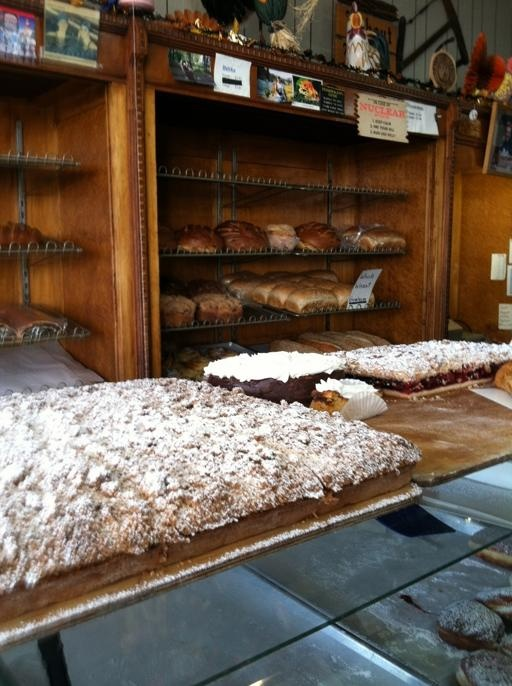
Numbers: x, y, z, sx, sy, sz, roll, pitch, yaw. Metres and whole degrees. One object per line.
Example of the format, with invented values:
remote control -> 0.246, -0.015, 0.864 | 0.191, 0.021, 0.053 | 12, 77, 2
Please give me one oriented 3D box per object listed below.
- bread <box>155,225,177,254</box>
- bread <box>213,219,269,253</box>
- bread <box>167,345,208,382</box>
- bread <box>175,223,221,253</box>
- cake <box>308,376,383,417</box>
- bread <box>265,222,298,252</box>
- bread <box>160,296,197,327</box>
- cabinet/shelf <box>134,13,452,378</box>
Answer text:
bread -> -0.418, -0.485, 2.402 | 0.069, 0.112, 0.261 | -6, 22, -5
bread -> -0.058, -0.537, 2.624 | 0.287, 0.165, 0.225 | 7, 10, -20
bread -> -0.344, 0.099, 2.534 | 0.160, 0.061, 0.201 | 1, 16, 2
bread -> -0.281, -0.501, 2.462 | 0.197, 0.093, 0.276 | -2, 8, -5
cake -> 0.181, 0.098, 0.996 | 0.097, 0.048, 0.104 | 5, 8, -40
bread -> 0.135, -0.571, 2.884 | 0.184, 0.133, 0.187 | 3, 5, 41
bread -> -0.350, -0.138, 2.290 | 0.147, 0.088, 0.142 | 1, -3, -28
cabinet/shelf -> 0.147, -0.563, 2.926 | 1.786, 1.713, 0.611 | 5, -1, -14
